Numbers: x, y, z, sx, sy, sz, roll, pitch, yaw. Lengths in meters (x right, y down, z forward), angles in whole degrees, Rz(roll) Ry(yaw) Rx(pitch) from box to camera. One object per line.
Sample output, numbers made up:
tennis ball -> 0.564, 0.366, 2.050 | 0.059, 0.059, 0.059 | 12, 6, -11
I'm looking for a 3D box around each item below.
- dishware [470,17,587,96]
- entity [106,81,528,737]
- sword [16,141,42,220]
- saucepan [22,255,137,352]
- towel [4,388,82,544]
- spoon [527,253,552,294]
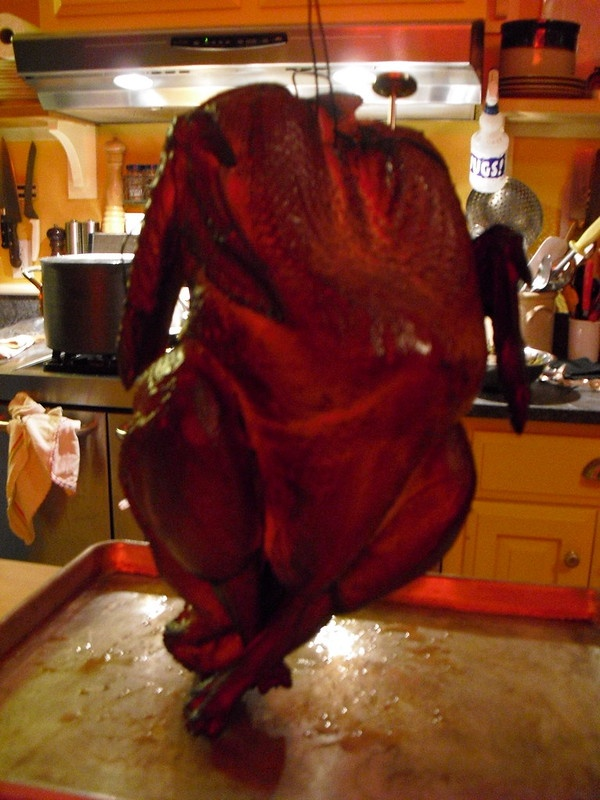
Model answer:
dishware -> 0.603, -0.866, 1.619 | 0.265, 0.201, 0.278 | -1, 18, -1
entity -> -0.015, 0.001, 0.375 | 0.190, 0.295, 0.160 | 10, 15, -18
sword -> -0.975, -0.768, 2.136 | 0.047, 0.296, 0.014 | 3, 0, -5
saucepan -> -0.522, -0.246, 1.492 | 0.335, 0.229, 0.208 | -5, 22, -22
towel -> -0.627, 0.147, 1.445 | 0.218, 0.328, 0.110 | -5, 5, -24
spoon -> 0.609, -0.317, 1.513 | 0.049, 0.093, 0.033 | 1, 6, 19
